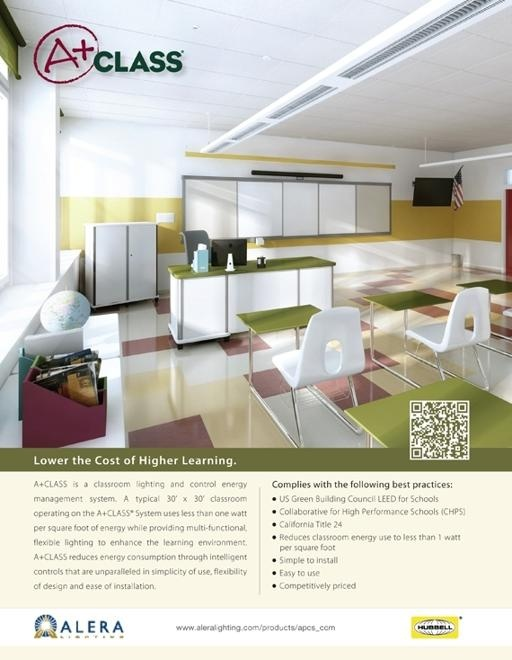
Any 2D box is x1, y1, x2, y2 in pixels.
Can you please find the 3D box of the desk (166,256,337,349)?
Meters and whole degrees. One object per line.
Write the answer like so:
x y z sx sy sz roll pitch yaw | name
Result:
-0.304 -0.457 5.815 2.356 1.058 0.897 -8 17 -28 | desk

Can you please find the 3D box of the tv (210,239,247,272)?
-0.323 -0.850 5.593 0.371 0.298 0.120 -4 16 -23 | tv

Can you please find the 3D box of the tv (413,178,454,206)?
4.007 -3.144 11.347 1.370 0.653 0.268 -12 17 -38 | tv

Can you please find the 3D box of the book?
-0.740 0.185 1.960 0.233 0.181 0.089 5 1 -13 | book

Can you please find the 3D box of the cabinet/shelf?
-1.882 -0.954 7.052 1.043 1.114 0.269 -12 17 -41 | cabinet/shelf
